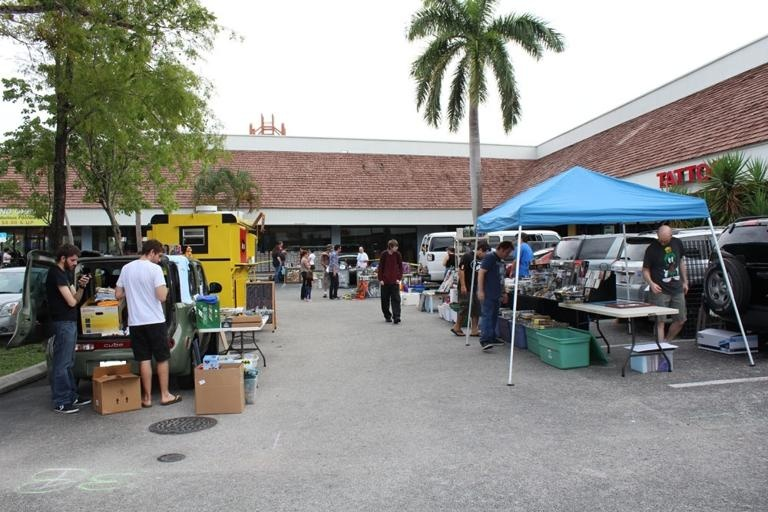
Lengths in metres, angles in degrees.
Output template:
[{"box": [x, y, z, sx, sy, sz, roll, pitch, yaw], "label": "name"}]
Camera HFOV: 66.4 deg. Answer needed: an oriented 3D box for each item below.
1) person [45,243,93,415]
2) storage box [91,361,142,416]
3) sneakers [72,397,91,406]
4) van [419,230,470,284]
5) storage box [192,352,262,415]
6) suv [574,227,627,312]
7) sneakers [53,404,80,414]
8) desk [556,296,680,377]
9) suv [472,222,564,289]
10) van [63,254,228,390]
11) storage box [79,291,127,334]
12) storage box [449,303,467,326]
[{"box": [-4.943, 1.128, 9.171, 0.547, 2.546, 0.796, 0, 14, 4], "label": "person"}, {"box": [-4.232, 2.077, 9.284, 0.455, 0.687, 0.635, -4, -2, 40], "label": "storage box"}, {"box": [-4.834, 2.328, 9.382, 0.246, 0.099, 0.089, 1, 2, -5], "label": "sneakers"}, {"box": [2.463, 0.070, 24.697, 2.373, 1.614, 1.831, -1, 4, -7], "label": "van"}, {"box": [-2.481, 2.025, 9.334, 0.894, 0.673, 0.897, -1, 3, -3], "label": "storage box"}, {"box": [4.877, 0.212, 13.063, 1.310, 1.083, 2.161, -2, -5, 17], "label": "suv"}, {"box": [-4.942, 2.369, 9.137, 0.372, 0.134, 0.136, -1, -2, 13], "label": "sneakers"}, {"box": [4.342, 1.500, 10.990, 1.434, 1.037, 1.768, -3, 2, -23], "label": "desk"}, {"box": [4.807, 0.029, 19.841, 3.291, 1.669, 1.987, -6, 6, -14], "label": "suv"}, {"box": [-4.277, 1.061, 11.056, 2.117, 2.146, 3.836, -1, 1, 1], "label": "van"}, {"box": [-4.609, 0.958, 9.601, 0.553, 0.391, 0.778, 0, 1, -12], "label": "storage box"}, {"box": [1.864, 1.365, 14.180, 0.482, 0.569, 0.593, -2, 2, -11], "label": "storage box"}]
